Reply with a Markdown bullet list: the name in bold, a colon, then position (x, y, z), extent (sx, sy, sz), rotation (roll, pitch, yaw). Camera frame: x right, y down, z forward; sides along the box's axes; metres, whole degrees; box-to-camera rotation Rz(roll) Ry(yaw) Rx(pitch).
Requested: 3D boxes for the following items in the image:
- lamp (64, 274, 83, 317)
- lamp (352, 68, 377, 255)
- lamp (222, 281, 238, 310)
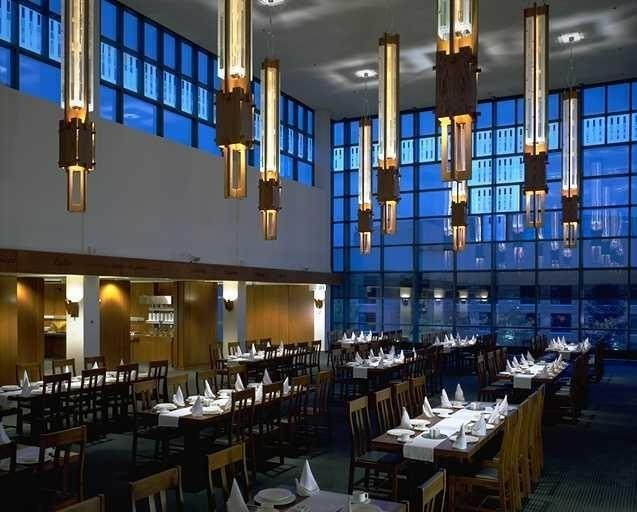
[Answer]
- **lamp**: position (-5.302, 0.883, 15.449), extent (0.310, 0.897, 0.352), rotation (5, 0, 1)
- **lamp**: position (1.045, -2.180, 15.738), extent (0.409, 4.188, 0.401), rotation (6, 15, 25)
- **lamp**: position (-2.431, 1.068, 19.736), extent (0.360, 0.915, 0.610), rotation (5, 11, -25)
